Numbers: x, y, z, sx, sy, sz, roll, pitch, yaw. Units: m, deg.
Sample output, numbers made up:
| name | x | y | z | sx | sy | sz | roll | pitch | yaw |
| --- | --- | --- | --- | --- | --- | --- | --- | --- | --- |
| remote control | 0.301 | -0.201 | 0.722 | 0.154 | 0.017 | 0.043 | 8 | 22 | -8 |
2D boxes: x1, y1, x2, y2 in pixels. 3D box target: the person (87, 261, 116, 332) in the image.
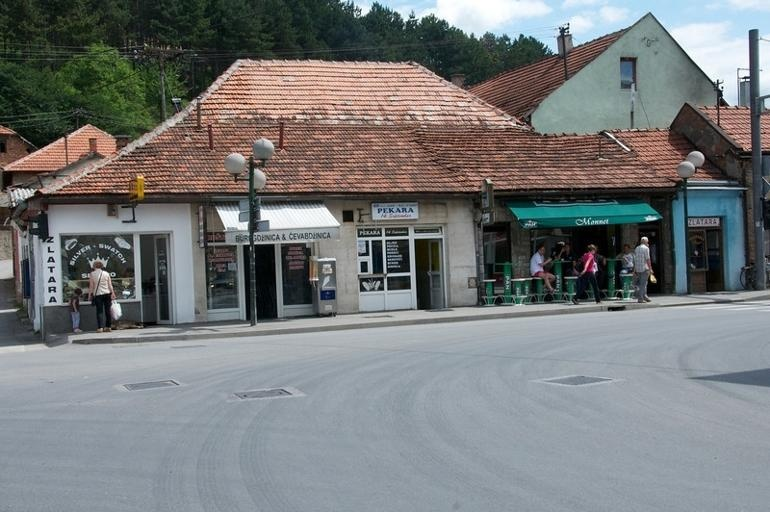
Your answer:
| name | x | y | z | sx | sy | sz | roll | pitch | yaw |
| --- | --- | --- | --- | --- | --- | --- | --- | --- | --- |
| person | -9.167 | 1.290 | 34.691 | 0.694 | 2.193 | 0.714 | 2 | 9 | 18 |

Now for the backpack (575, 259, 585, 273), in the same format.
| name | x | y | z | sx | sy | sz | roll | pitch | yaw |
| --- | --- | --- | --- | --- | --- | --- | --- | --- | --- |
| backpack | 7.095 | 0.342 | 39.115 | 0.330 | 0.707 | 0.472 | 2 | -2 | -2 |
